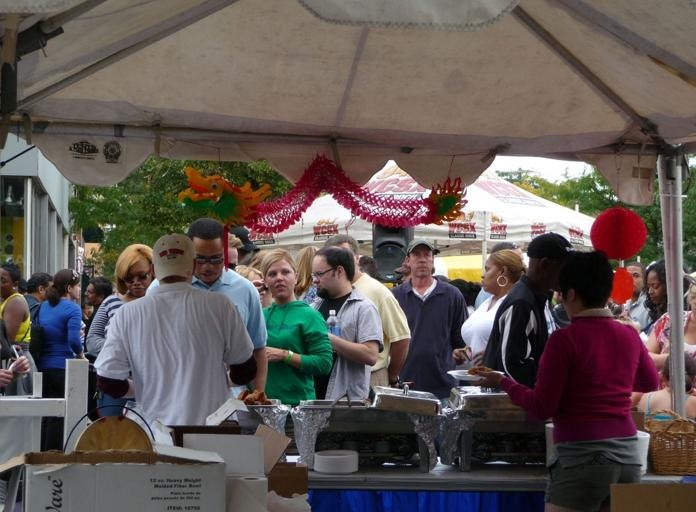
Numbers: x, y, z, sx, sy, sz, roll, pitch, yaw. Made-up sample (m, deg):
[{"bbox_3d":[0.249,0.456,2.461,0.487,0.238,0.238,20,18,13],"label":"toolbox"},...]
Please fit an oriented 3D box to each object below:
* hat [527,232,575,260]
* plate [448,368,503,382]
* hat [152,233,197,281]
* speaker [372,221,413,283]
[{"bbox_3d":[1.276,-0.082,8.228,0.240,0.113,0.162,-8,8,1],"label":"hat"},{"bbox_3d":[0.747,0.701,7.717,0.390,0.067,0.162,-6,-10,41],"label":"plate"},{"bbox_3d":[-1.066,0.003,7.886,0.247,0.284,0.166,1,-8,-6],"label":"hat"},{"bbox_3d":[0.386,-0.056,11.777,0.285,0.540,0.297,-4,6,-15],"label":"speaker"}]
